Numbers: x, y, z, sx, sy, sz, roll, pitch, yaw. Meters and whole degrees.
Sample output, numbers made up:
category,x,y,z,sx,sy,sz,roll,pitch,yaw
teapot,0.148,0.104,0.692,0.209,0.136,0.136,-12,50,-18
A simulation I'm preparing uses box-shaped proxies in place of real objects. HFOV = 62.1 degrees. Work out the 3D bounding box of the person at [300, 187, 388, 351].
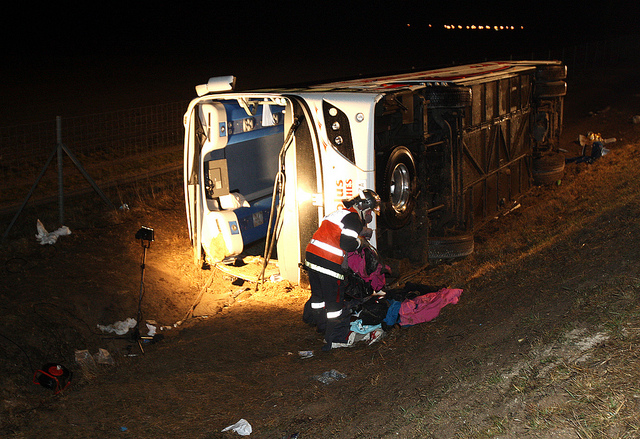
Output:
category,x,y,z,sx,sy,sz,roll,pitch,yaw
person,0.233,0.705,7.380,1.020,2.062,0.800,-4,15,-3
